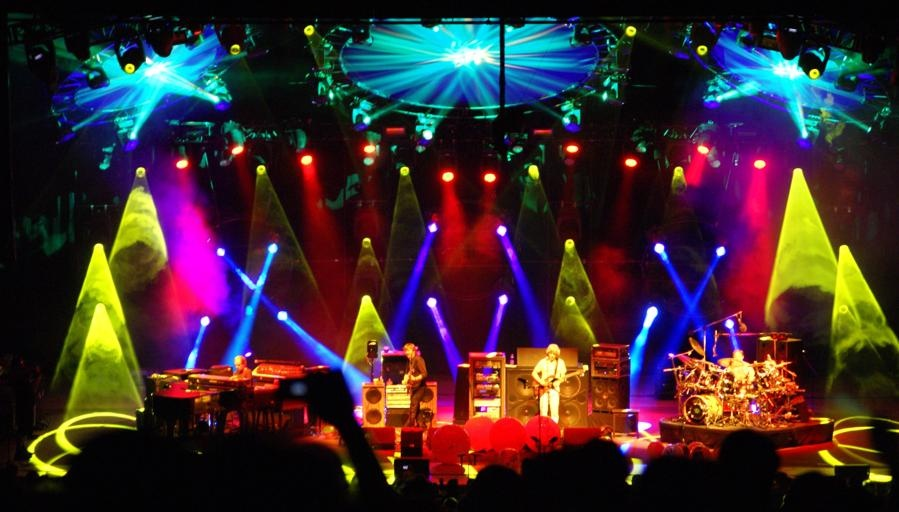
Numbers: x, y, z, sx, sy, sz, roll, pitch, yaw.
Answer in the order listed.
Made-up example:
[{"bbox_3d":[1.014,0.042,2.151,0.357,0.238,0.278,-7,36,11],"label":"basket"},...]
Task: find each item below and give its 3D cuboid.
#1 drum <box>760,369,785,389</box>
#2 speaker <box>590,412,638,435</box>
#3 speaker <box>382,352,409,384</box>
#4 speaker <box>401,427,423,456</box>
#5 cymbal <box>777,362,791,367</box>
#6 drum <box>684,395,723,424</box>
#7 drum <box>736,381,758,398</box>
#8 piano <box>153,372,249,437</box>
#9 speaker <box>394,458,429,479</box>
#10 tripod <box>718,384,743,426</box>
[{"bbox_3d":[6.725,2.581,16.990,0.461,0.421,0.415,4,-14,-16],"label":"drum"},{"bbox_3d":[3.621,3.645,17.781,1.059,0.819,0.529,-2,-14,13],"label":"speaker"},{"bbox_3d":[-1.288,2.521,18.047,0.724,0.778,0.667,0,-4,2],"label":"speaker"},{"bbox_3d":[-0.699,3.528,15.346,0.514,0.554,0.621,1,-9,3],"label":"speaker"},{"bbox_3d":[7.121,2.315,17.216,0.239,0.200,0.230,-2,-3,26],"label":"cymbal"},{"bbox_3d":[5.279,3.197,17.001,0.684,0.584,0.735,-13,-9,-2],"label":"drum"},{"bbox_3d":[6.197,2.794,16.885,0.386,0.245,0.393,-2,-5,0],"label":"drum"},{"bbox_3d":[-5.600,3.081,17.182,2.070,0.711,1.872,3,0,-3],"label":"piano"},{"bbox_3d":[-0.621,3.646,13.928,0.750,0.375,0.670,1,-6,-2],"label":"speaker"},{"bbox_3d":[5.920,3.093,16.879,0.695,0.770,0.327,-8,2,6],"label":"tripod"}]
